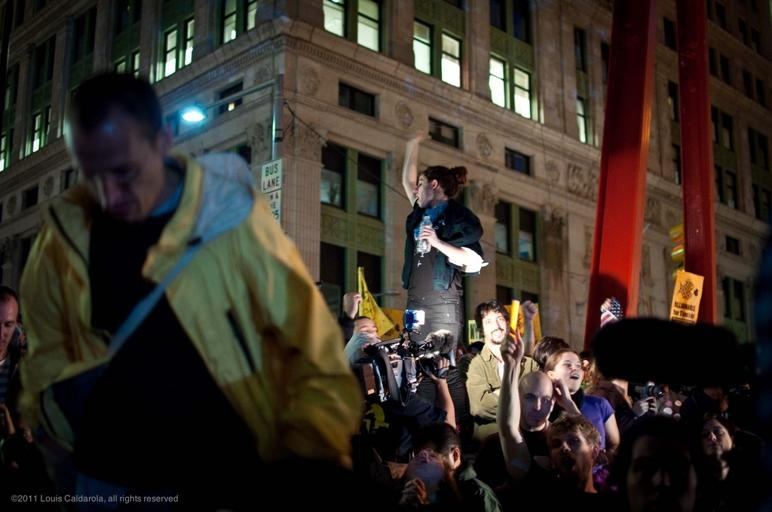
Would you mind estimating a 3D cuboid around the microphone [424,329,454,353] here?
[{"bbox_3d":[0.513,0.823,8.457,0.246,0.183,0.120,14,-26,-34],"label":"microphone"}]
